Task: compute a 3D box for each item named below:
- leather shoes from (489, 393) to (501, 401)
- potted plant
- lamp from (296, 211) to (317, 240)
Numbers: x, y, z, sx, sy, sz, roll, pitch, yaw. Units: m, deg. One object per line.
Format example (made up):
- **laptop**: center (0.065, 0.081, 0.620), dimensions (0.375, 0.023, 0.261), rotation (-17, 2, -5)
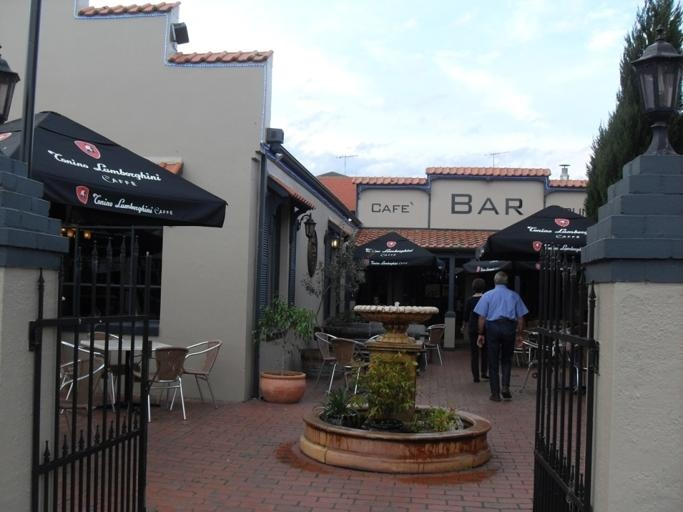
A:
- **leather shoes**: center (2.403, 2.223, 10.416), dimensions (0.078, 0.113, 0.177), rotation (0, 4, 4)
- **potted plant**: center (-0.931, 1.506, 11.215), dimensions (0.846, 1.561, 2.649), rotation (1, -3, -3)
- **lamp**: center (-0.725, -0.619, 13.703), dimensions (0.489, 0.686, 0.333), rotation (-1, -2, 19)
